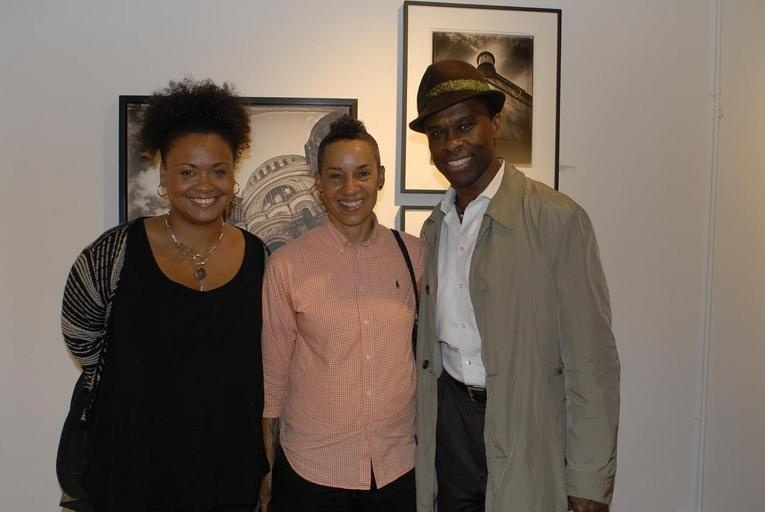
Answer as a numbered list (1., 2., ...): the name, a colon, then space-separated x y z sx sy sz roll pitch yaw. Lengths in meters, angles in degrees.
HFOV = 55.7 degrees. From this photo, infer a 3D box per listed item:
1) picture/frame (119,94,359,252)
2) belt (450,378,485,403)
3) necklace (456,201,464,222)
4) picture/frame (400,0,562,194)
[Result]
1. picture/frame: -0.832 -0.470 4.023 0.939 0.687 0.032 0 3 -12
2. belt: 0.452 0.704 3.757 0.122 0.063 0.092 27 11 26
3. necklace: 0.413 -0.236 3.881 0.048 0.093 0.066 1 -5 -31
4. picture/frame: 0.530 -0.945 4.197 1.239 1.471 0.056 0 6 -4
